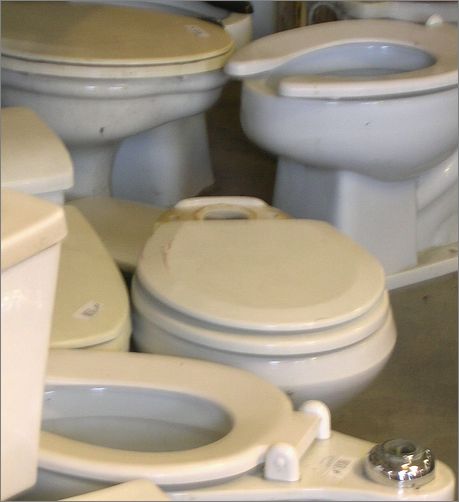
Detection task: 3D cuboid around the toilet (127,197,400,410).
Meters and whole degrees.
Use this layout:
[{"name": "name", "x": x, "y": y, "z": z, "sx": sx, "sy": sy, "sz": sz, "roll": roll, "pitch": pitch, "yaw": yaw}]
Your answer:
[{"name": "toilet", "x": 0.030, "y": 0.070, "z": 0.729, "sx": 0.327, "sy": 0.176, "sz": 0.336, "roll": -12, "pitch": 36, "yaw": -20}]
